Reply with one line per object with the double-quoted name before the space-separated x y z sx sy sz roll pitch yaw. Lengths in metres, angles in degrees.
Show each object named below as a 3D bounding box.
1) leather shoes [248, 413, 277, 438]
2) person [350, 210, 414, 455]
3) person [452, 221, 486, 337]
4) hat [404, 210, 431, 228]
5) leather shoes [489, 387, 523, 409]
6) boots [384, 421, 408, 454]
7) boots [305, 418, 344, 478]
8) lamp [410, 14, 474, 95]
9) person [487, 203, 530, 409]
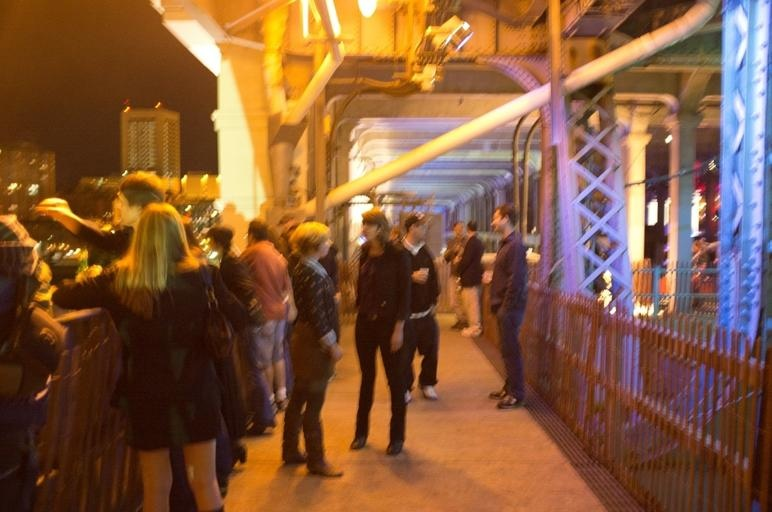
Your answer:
"leather shoes" -1.450 1.964 8.137 0.386 0.200 0.148 2 -2 5
"person" -0.060 0.809 7.694 0.676 2.620 0.468 1 6 11
"person" 1.700 0.461 16.168 0.668 2.891 0.708 0 26 7
"hat" 0.393 -0.449 8.890 0.238 0.293 0.215 5 -3 -7
"leather shoes" 1.583 1.916 9.354 0.522 0.249 0.179 10 12 7
"boots" 0.111 2.013 7.655 0.137 0.320 0.305 -2 -2 28
"boots" -0.618 1.885 7.062 0.434 0.611 0.197 12 22 29
"lamp" 0.935 -3.629 12.640 0.826 0.903 1.845 -1 6 -6
"person" 1.607 0.658 9.237 0.394 2.627 0.490 -2 6 -14
